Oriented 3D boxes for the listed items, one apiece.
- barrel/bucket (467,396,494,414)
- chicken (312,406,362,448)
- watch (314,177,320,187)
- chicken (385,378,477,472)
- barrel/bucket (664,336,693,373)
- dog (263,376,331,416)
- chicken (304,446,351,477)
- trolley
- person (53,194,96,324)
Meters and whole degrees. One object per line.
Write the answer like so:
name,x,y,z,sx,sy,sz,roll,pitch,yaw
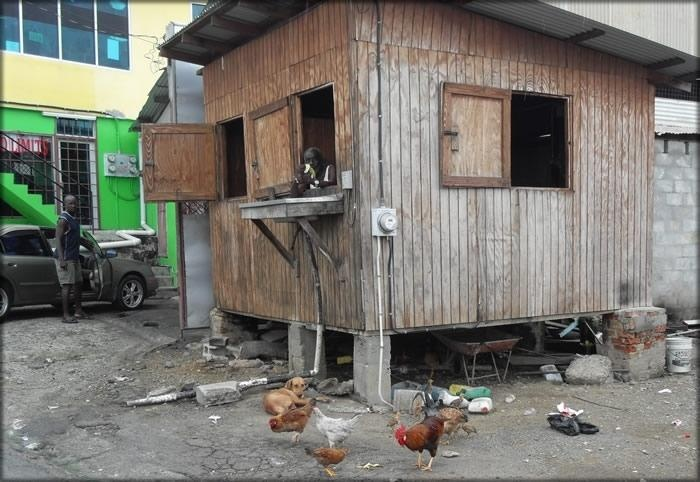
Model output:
barrel/bucket,2.109,2.705,12.192,0.313,0.243,0.308,-1,-1,0
chicken,-0.192,2.606,10.392,0.710,0.527,0.291,-4,-4,19
watch,-0.564,-0.972,12.695,0.084,0.125,0.062,2,1,8
chicken,1.159,2.677,11.067,1.139,0.754,1.902,7,15,24
barrel/bucket,6.416,2.247,14.772,0.558,0.661,0.626,-2,-2,29
dog,-0.850,2.399,11.651,0.902,0.457,0.505,-14,9,-37
chicken,-0.261,3.006,10.254,0.429,0.415,0.342,0,13,-6
trolley,2.286,2.104,13.795,1.139,0.836,1.764,-5,3,-16
person,-5.916,0.374,16.068,0.845,2.755,0.730,0,11,-40
